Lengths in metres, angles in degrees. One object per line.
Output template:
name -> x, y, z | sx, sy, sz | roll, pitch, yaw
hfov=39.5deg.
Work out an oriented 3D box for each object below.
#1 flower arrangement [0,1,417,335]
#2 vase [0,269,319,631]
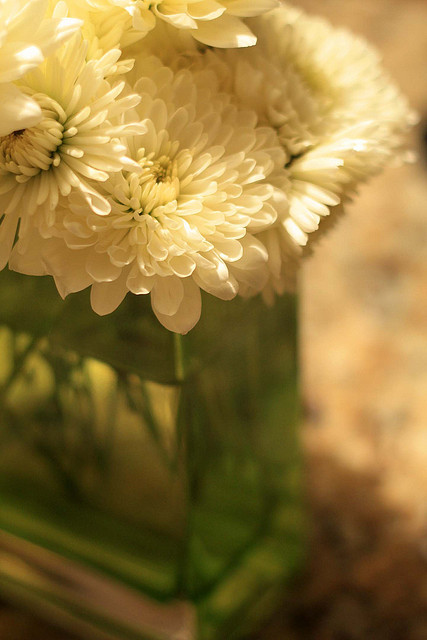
flower arrangement -> -0.018, -0.087, 0.339 | 0.169, 0.104, 0.168 | 40, 88, -10
vase -> -0.025, 0.075, 0.310 | 0.172, 0.147, 0.134 | 2, 45, -10
